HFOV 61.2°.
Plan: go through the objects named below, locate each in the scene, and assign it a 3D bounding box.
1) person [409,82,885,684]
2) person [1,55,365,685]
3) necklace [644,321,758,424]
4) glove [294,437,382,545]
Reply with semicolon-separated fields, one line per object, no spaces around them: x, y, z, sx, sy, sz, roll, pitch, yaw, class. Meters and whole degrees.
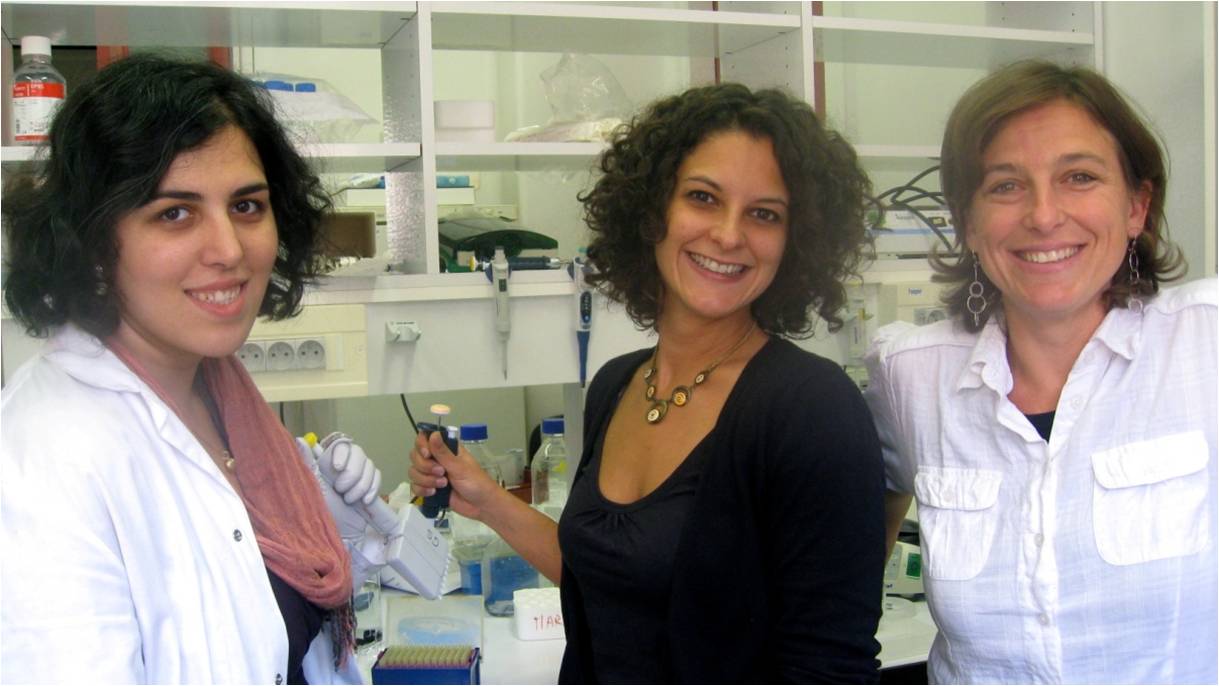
0.230;0.095;2.439;0.787;1.386;0.507;-4;5;15;person
-0.942;0.116;2.250;0.747;1.461;0.445;-8;6;-27;person
0.223;0.119;2.469;0.237;0.069;0.272;-41;26;-13;necklace
-0.663;0.317;2.560;0.209;0.088;0.141;7;36;-44;glove
